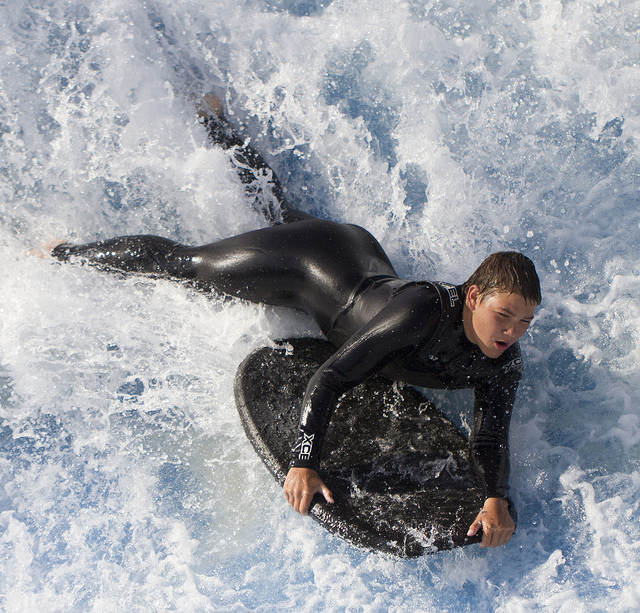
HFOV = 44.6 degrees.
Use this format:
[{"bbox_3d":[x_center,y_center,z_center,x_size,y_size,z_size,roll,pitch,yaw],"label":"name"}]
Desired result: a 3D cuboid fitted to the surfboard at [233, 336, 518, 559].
[{"bbox_3d":[0.237,0.842,4.621,1.668,0.246,0.972,41,43,18],"label":"surfboard"}]
